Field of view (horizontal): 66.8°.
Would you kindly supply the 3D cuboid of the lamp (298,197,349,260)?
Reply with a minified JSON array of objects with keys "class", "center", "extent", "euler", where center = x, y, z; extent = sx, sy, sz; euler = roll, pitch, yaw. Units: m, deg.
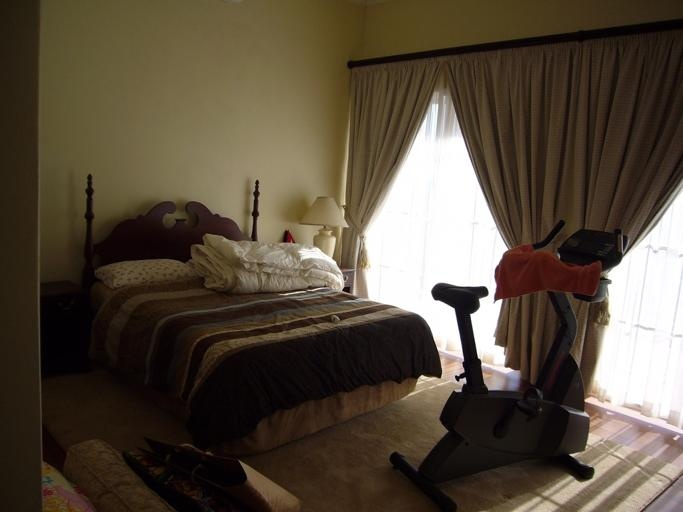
[{"class":"lamp","center":[-0.127,-0.291,5.239],"extent":[0.507,0.769,0.560],"euler":[5,9,32]}]

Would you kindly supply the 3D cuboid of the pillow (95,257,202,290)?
[{"class":"pillow","center":[-1.459,0.122,3.896],"extent":[0.480,0.118,0.294],"euler":[-3,11,-37]}]

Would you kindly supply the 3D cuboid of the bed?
[{"class":"bed","center":[-0.744,0.302,3.947],"extent":[2.385,1.328,2.028],"euler":[10,10,41]}]

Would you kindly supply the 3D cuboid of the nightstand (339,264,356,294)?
[{"class":"nightstand","center":[0.075,0.247,5.276],"extent":[0.212,0.302,0.199],"euler":[-4,7,-40]}]

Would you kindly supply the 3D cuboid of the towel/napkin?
[{"class":"towel/napkin","center":[1.094,0.105,2.819],"extent":[0.331,0.172,0.349],"euler":[0,12,-1]}]
